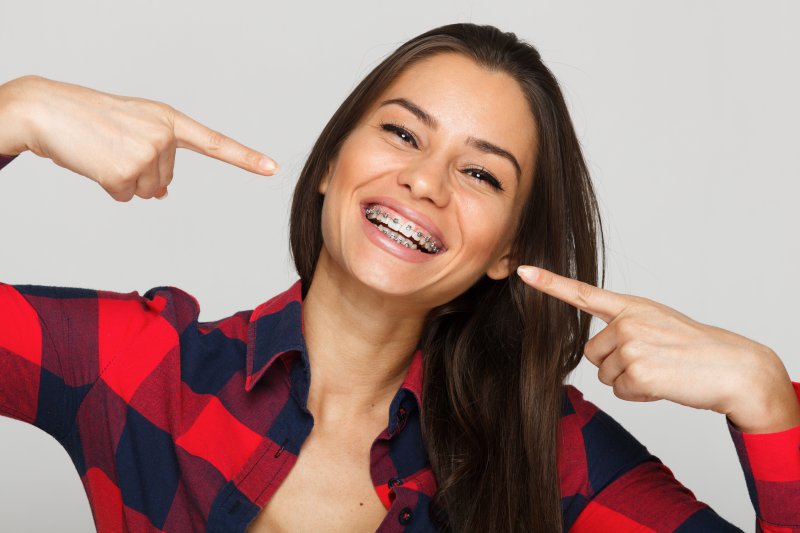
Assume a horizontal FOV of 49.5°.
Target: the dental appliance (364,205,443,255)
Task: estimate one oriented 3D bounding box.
[{"bbox_3d":[-0.005,-0.136,3.257,0.171,0.065,0.145,22,-21,16],"label":"dental appliance"}]
